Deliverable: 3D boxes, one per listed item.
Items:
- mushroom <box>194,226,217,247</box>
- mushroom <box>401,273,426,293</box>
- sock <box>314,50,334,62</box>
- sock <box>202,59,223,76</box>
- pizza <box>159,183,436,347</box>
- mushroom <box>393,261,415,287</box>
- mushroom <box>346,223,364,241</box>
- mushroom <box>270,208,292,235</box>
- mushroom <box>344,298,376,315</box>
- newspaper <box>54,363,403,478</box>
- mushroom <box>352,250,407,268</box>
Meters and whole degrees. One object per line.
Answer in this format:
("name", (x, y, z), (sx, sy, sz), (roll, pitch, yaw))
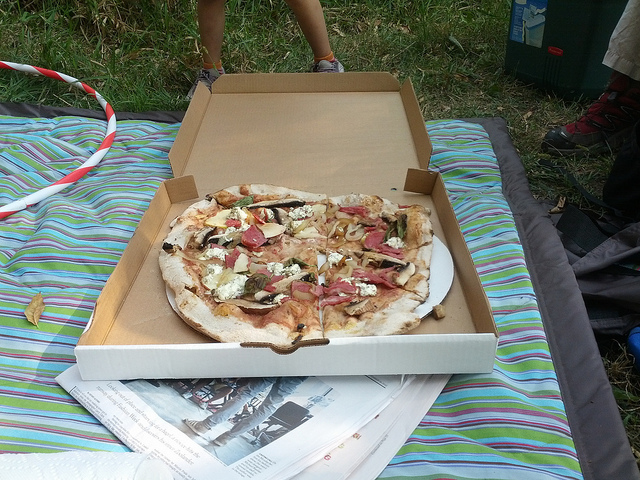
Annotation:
("mushroom", (-0.472, -0.021, 2.180), (0.105, 0.019, 0.064), (-17, 46, -23))
("mushroom", (0.359, 0.164, 1.976), (0.073, 0.019, 0.106), (15, 52, 15))
("sock", (0.037, -1.203, 3.425), (0.123, 0.073, 0.080), (-9, 54, -4))
("sock", (-0.708, -1.143, 3.432), (0.112, 0.087, 0.121), (-10, 32, -9))
("pizza", (-0.093, 0.099, 1.994), (0.984, 0.121, 0.626), (0, 38, 0))
("mushroom", (0.329, 0.133, 2.002), (0.067, 0.026, 0.103), (27, 46, 17))
("mushroom", (0.150, -0.032, 2.191), (0.065, 0.028, 0.073), (24, 55, 20))
("mushroom", (-0.163, -0.080, 2.266), (0.082, 0.030, 0.117), (-17, 65, -17))
("mushroom", (0.150, 0.250, 1.906), (0.104, 0.020, 0.052), (-16, 52, -11))
("newspaper", (-0.313, 0.584, 1.695), (0.481, 0.054, 0.533), (26, 41, 31))
("mushroom", (0.243, 0.073, 2.082), (0.212, 0.055, 0.047), (11, 38, 6))
